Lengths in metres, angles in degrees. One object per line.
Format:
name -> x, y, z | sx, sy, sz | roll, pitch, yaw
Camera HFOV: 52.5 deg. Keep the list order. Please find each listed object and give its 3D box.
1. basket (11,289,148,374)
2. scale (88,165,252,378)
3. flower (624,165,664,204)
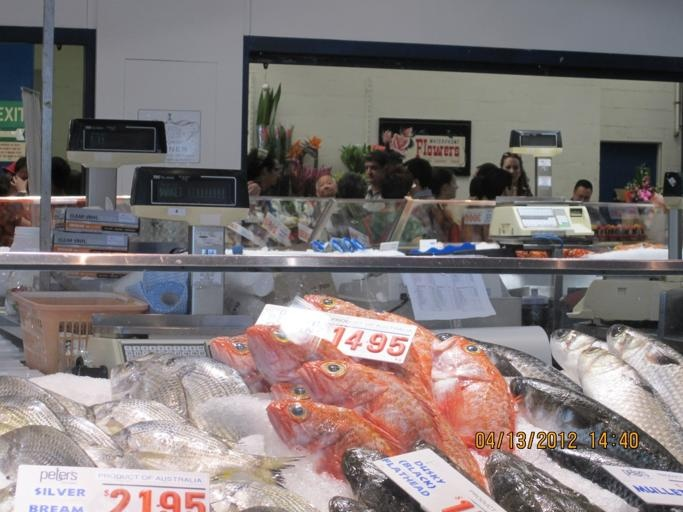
basket -> -0.557, 0.139, 1.450 | 0.213, 0.139, 0.155 | 1, 6, -33
scale -> -0.495, -0.010, 2.005 | 0.350, 0.584, 0.462 | 0, 30, -31
flower -> 2.759, -0.649, 6.387 | 0.333, 0.348, 0.282 | -11, 12, -5
